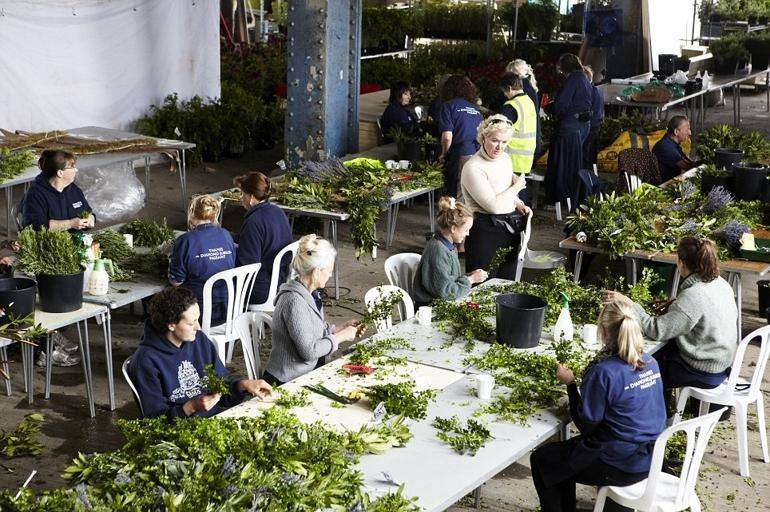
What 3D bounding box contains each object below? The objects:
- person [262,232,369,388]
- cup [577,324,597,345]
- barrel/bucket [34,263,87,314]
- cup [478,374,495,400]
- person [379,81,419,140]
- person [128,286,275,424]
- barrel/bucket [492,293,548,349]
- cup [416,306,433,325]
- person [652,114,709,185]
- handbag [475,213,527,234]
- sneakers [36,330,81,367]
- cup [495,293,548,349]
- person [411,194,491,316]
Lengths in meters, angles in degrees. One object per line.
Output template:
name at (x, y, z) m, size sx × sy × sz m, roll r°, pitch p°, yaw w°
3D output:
person at (-0.578, 0.440, 5.197) m, size 0.594 × 1.292 × 0.516 m, roll 2°, pitch 49°, yaw -5°
cup at (1.439, 0.541, 4.623) m, size 0.136 × 0.154 × 0.135 m, roll -3°, pitch 13°, yaw 1°
barrel/bucket at (-2.518, 0.234, 4.985) m, size 0.377 × 0.327 × 0.422 m, roll -6°, pitch -19°, yaw 12°
cup at (0.616, 0.796, 3.943) m, size 0.097 × 0.127 × 0.147 m, roll 4°, pitch 9°, yaw 31°
person at (0.224, -2.204, 10.098) m, size 0.615 × 0.943 × 0.959 m, roll 2°, pitch 9°, yaw 14°
person at (-1.213, 0.710, 4.142) m, size 0.836 × 0.975 × 0.662 m, roll -1°, pitch 11°, yaw -34°
barrel/bucket at (0.941, 0.451, 4.449) m, size 0.343 × 0.278 × 0.380 m, roll 1°, pitch 22°, yaw 2°
cup at (0.273, 0.441, 4.841) m, size 0.087 × 0.119 × 0.142 m, roll 20°, pitch 29°, yaw 39°
person at (4.125, -1.368, 9.091) m, size 0.668 × 1.283 × 0.572 m, roll 4°, pitch 43°, yaw 15°
handbag at (1.172, -0.356, 6.492) m, size 0.299 × 0.124 × 0.281 m, roll 8°, pitch 18°, yaw 27°
sneakers at (-3.086, 0.875, 6.128) m, size 0.301 × 0.133 × 0.342 m, roll 5°, pitch 9°, yaw -7°
cup at (0.940, 0.459, 4.424) m, size 0.341 × 0.280 × 0.381 m, roll 1°, pitch 21°, yaw 3°
person at (0.550, 0.007, 5.356) m, size 0.597 × 0.917 × 0.578 m, roll -6°, pitch 12°, yaw -14°
